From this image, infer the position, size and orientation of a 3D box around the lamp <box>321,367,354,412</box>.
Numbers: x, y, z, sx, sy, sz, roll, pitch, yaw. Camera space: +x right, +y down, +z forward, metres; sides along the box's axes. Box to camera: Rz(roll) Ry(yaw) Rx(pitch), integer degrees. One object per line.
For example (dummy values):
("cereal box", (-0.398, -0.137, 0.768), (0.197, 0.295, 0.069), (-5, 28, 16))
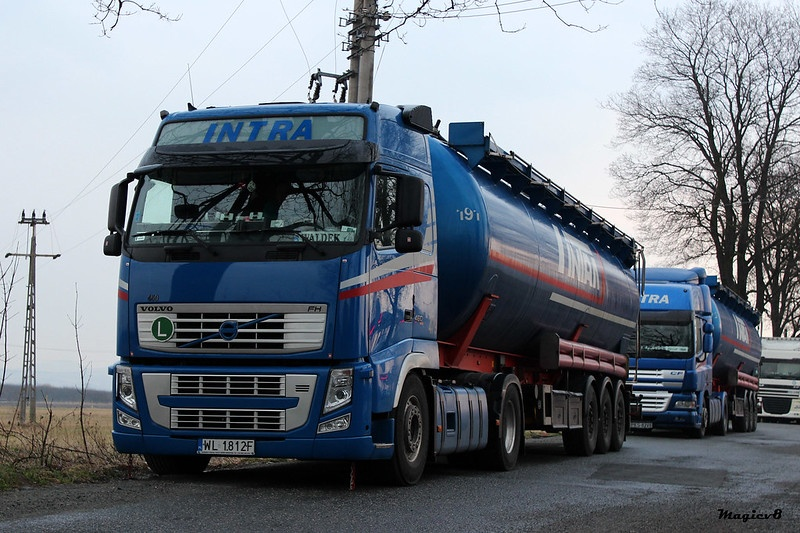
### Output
("lamp", (-0.752, 1.500, 9.729), (0.347, 0.514, 0.138), (0, -11, -6))

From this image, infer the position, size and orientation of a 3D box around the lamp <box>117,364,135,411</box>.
("lamp", (-3.490, 1.548, 10.245), (0.318, 0.558, 0.097), (-6, -12, 24))

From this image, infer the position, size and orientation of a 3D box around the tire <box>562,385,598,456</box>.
("tire", (3.666, 3.147, 16.516), (0.386, 1.195, 1.202), (-2, -34, 26))

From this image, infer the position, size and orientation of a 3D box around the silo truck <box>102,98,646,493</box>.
("silo truck", (1.712, 0.868, 14.764), (3.802, 5.518, 13.882), (-9, -14, 36))

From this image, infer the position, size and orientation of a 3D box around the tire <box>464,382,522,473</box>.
("tire", (1.418, 2.526, 12.613), (0.374, 1.275, 1.277), (1, -18, 25))
